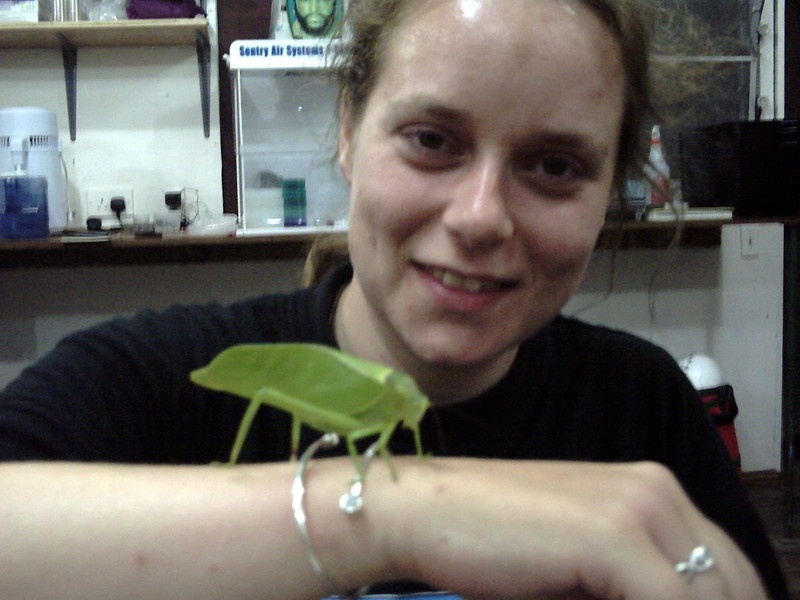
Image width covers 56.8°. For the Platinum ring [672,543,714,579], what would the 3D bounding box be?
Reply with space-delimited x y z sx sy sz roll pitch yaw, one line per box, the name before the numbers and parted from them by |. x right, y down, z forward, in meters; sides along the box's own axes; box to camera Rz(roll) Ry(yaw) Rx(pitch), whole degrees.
Platinum ring | 0.363 0.328 0.919 0.044 0.029 0.015 -20 -3 -13

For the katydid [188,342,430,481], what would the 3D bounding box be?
katydid | -0.116 0.131 1.037 0.260 0.136 0.164 9 -21 19

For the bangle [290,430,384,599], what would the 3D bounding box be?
bangle | -0.084 0.276 0.956 0.106 0.190 0.093 1 4 0
